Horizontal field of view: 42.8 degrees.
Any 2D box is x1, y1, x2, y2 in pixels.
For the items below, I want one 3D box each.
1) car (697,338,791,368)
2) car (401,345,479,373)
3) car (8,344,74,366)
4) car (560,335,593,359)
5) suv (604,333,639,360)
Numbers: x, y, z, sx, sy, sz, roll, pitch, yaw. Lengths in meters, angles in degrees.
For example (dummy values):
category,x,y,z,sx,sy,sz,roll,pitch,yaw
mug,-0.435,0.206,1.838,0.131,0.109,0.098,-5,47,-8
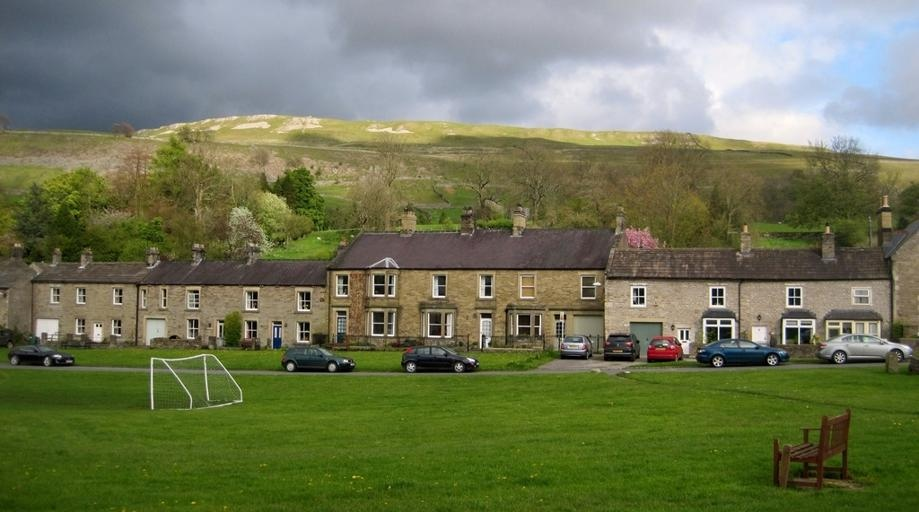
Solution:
category,x,y,z,sx,sy,sz,roll,pitch,yaw
car,29.493,10.403,122.999,8.219,2.351,3.498,-1,-2,4
car,-2.252,11.104,124.401,6.800,2.081,3.160,-1,-2,4
car,-45.317,11.005,128.465,6.198,1.744,2.687,-3,-4,16
car,12.876,10.185,130.417,3.361,2.586,2.045,1,-5,-10
suv,17.748,9.966,128.930,2.826,2.964,3.586,-2,-5,25
